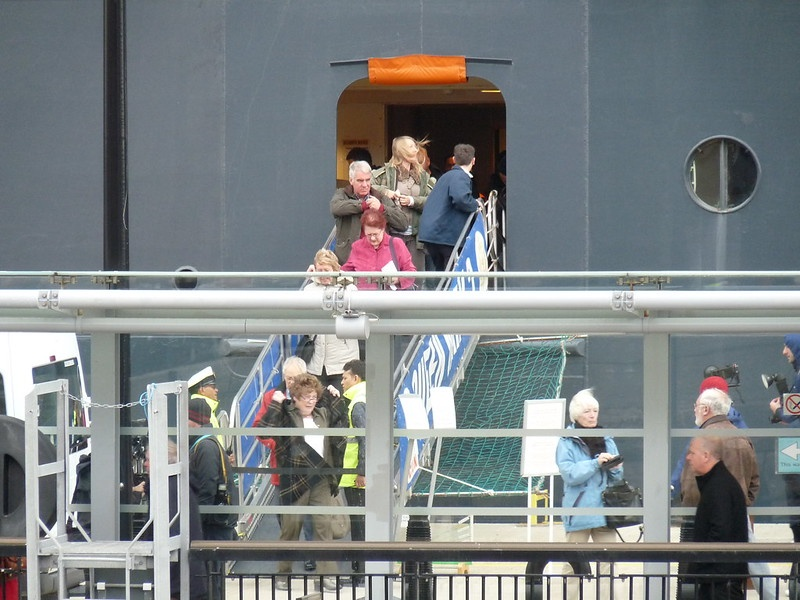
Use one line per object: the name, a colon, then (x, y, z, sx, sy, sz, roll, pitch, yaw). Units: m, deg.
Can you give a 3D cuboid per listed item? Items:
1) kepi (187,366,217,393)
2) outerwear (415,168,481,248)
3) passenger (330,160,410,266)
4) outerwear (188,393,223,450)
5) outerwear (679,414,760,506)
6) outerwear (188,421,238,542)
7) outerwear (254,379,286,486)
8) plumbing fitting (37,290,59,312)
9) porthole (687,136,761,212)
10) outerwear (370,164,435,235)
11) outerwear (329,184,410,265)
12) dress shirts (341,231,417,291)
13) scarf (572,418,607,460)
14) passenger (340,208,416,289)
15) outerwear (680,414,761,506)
kepi: (-2.054, 0.779, 26.187, 0.260, 0.109, 0.201, -31, 6, 1)
outerwear: (0.468, -0.958, 28.461, 0.501, 0.691, 0.590, -2, 39, -18)
passenger: (-0.475, -0.607, 28.232, 0.816, 1.641, 0.562, -2, 11, -24)
outerwear: (-2.024, 1.139, 26.167, 0.489, 0.419, 0.348, 1, 3, 11)
outerwear: (3.130, 1.599, 25.822, 0.919, 0.954, 0.541, 0, 4, -10)
outerwear: (-1.933, 1.964, 26.347, 0.426, 1.561, 0.701, -4, 22, -5)
outerwear: (-1.371, 1.341, 26.113, 0.305, 0.815, 0.634, 5, 3, -19)
plumbing fitting: (-3.445, -0.008, 25.118, 0.197, 0.138, 0.076, 21, 0, 8)
porthole: (3.883, -1.457, 31.072, 0.894, 0.882, 0.129, 3, -4, 12)
outerwear: (-0.028, -1.057, 28.441, 0.833, 0.836, 0.502, 0, -1, -31)
outerwear: (-0.431, -0.745, 28.210, 0.756, 0.924, 0.577, 5, -3, -17)
dress shirts: (-0.299, -0.384, 27.558, 0.819, 0.613, 0.423, -1, 0, 5)
scarf: (1.864, 1.376, 26.081, 0.262, 0.298, 0.329, -1, -4, -8)
passenger: (-0.310, -0.519, 27.238, 0.690, 1.060, 0.427, -7, -16, 2)
outerwear: (3.141, 1.598, 25.822, 0.918, 0.954, 0.539, 0, 4, -10)
